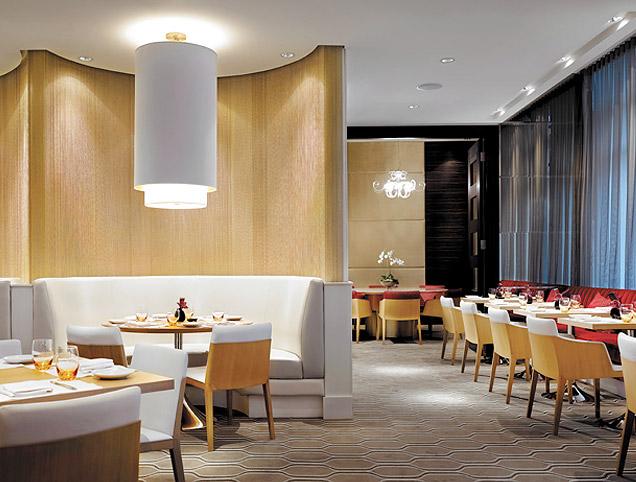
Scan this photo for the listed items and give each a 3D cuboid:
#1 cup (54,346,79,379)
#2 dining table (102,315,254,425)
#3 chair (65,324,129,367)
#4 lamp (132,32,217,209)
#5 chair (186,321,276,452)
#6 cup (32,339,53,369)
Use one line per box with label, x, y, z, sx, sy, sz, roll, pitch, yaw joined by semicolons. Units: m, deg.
cup;-1.370;0.671;2.851;0.171;0.181;0.175;2;-10;0
dining table;-1.340;1.112;5.012;0.894;0.721;0.931;3;-11;4
chair;-1.682;0.770;4.013;0.314;0.469;0.394;1;-4;3
lamp;-1.495;-1.142;5.548;0.855;1.614;0.875;-1;-4;-6
chair;-0.839;1.224;4.614;0.812;1.056;0.838;3;1;24
cup;-1.557;0.650;2.962;0.105;0.151;0.109;-11;-18;-4
